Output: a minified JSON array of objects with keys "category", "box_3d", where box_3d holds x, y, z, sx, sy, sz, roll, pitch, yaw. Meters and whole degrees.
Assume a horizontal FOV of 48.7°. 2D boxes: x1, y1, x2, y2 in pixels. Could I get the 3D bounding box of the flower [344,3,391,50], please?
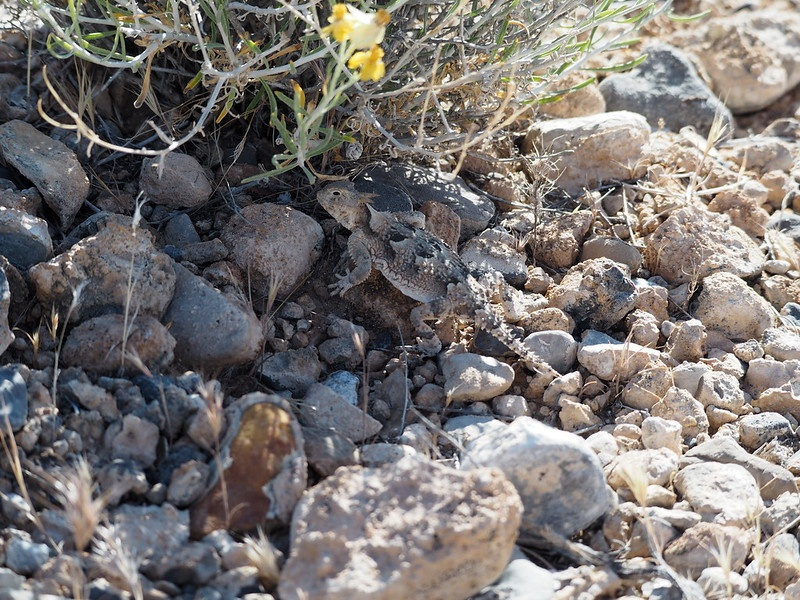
[{"category":"flower","box_3d":[-0.123,-1.111,3.582,0.172,0.182,0.181,1,83,32]}]
